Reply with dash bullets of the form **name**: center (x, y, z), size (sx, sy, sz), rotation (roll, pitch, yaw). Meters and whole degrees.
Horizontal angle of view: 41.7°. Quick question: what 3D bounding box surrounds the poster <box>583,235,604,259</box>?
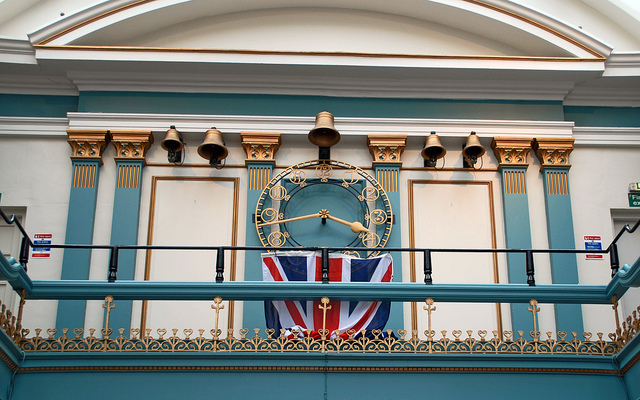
- **poster**: center (5.766, 1.026, 17.701), size (0.510, 0.664, 0.028), rotation (1, -27, 1)

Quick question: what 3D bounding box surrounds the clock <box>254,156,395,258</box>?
- **clock**: center (0.087, 0.243, 18.002), size (2.394, 2.242, 0.171), rotation (1, -28, -3)

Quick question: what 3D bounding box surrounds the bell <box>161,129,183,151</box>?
- **bell**: center (-3.127, -1.285, 18.117), size (0.428, 0.449, 0.416), rotation (-13, -38, 16)

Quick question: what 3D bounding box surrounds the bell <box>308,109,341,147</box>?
- **bell**: center (0.112, -1.634, 17.985), size (0.601, 0.632, 0.611), rotation (-15, -50, 18)

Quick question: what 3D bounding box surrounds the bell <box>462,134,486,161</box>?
- **bell**: center (3.294, -1.193, 18.405), size (0.505, 0.534, 0.509), rotation (-13, -40, 19)

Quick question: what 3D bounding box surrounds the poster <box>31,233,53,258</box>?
- **poster**: center (-5.802, 0.992, 17.525), size (0.491, 0.638, 0.070), rotation (-1, -17, -7)

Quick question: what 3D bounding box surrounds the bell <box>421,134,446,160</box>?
- **bell**: center (2.473, -1.208, 18.314), size (0.502, 0.603, 0.508), rotation (-2, -27, 5)
